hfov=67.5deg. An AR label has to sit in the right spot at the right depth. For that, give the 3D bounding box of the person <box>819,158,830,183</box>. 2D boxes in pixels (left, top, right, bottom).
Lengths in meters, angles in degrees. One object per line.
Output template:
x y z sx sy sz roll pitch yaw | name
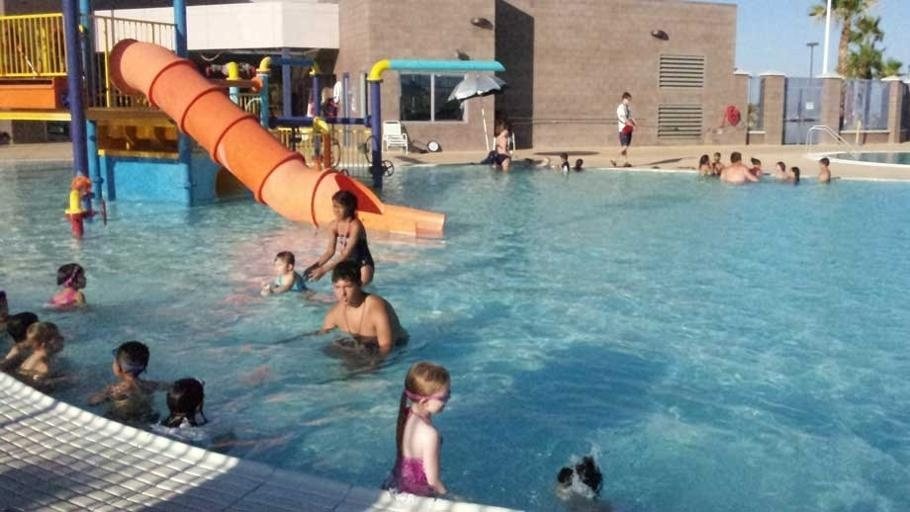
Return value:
9.080 -2.083 16.657 0.276 0.527 0.836 4 12 28 | person

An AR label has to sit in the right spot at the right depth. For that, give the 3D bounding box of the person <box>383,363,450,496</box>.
-0.303 1.361 5.325 0.506 1.057 0.507 5 13 30 | person

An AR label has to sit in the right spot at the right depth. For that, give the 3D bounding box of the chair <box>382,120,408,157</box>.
-2.072 -4.025 23.051 1.025 1.343 1.002 -2 11 -12 | chair

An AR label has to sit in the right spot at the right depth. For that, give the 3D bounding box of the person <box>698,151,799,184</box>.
7.362 -2.116 16.790 1.639 0.619 1.212 -10 23 -5 | person

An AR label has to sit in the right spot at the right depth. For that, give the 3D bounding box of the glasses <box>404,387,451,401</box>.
-0.230 1.071 5.281 0.354 0.099 0.088 0 11 9 | glasses

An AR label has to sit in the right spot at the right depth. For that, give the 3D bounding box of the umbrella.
0.951 -4.539 20.208 1.571 1.813 1.529 -25 19 -29 | umbrella
